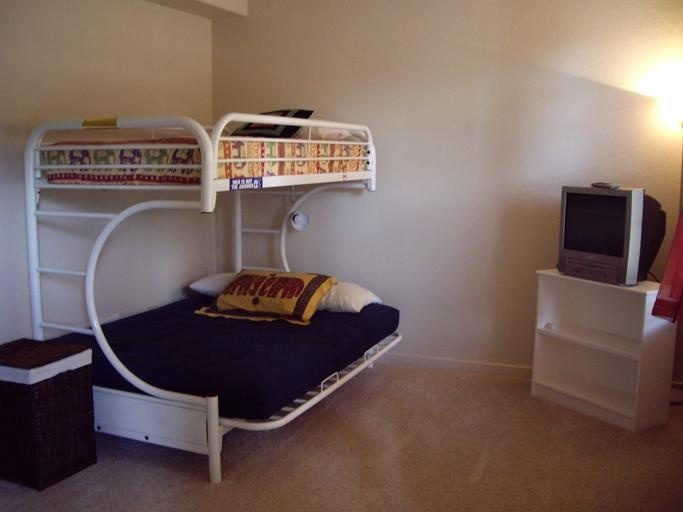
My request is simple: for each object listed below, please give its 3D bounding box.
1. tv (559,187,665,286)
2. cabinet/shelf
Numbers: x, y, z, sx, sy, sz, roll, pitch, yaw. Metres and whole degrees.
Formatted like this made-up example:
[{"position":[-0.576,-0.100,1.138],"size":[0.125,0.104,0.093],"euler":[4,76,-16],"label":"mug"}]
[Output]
[{"position":[1.533,-0.180,3.339],"size":[0.567,0.648,0.600],"euler":[-6,12,-30],"label":"tv"},{"position":[1.592,0.586,3.230],"size":[0.390,0.980,0.819],"euler":[-1,7,-37],"label":"cabinet/shelf"}]
